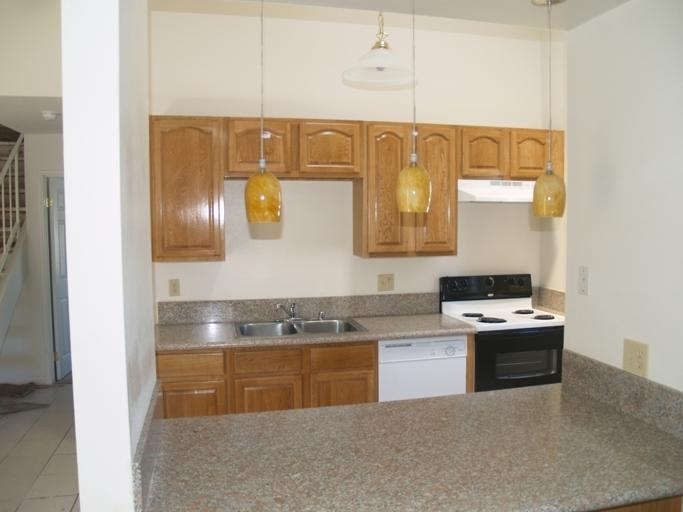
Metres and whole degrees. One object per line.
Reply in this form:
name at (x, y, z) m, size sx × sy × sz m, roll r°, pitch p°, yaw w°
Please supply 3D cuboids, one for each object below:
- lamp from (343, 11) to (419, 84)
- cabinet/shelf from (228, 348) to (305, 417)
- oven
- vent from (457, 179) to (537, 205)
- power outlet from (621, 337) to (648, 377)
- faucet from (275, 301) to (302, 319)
lamp at (0.214, -1.117, 2.993) m, size 0.343 × 0.399 × 0.358 m, roll 3°, pitch 4°, yaw 21°
cabinet/shelf at (-0.482, 0.752, 3.644) m, size 0.426 × 0.662 × 0.402 m, roll 0°, pitch -1°, yaw -17°
oven at (1.274, 0.737, 4.083) m, size 0.621 × 0.414 × 0.427 m, roll -2°, pitch -4°, yaw -6°
vent at (1.129, -0.471, 4.011) m, size 0.580 × 0.169 × 0.107 m, roll -3°, pitch 10°, yaw -11°
power outlet at (1.240, 0.428, 2.347) m, size 0.013 × 0.151 × 0.107 m, roll -17°, pitch 18°, yaw -30°
faucet at (-0.388, 0.408, 4.130) m, size 0.184 × 0.124 × 0.061 m, roll -3°, pitch 10°, yaw -6°
